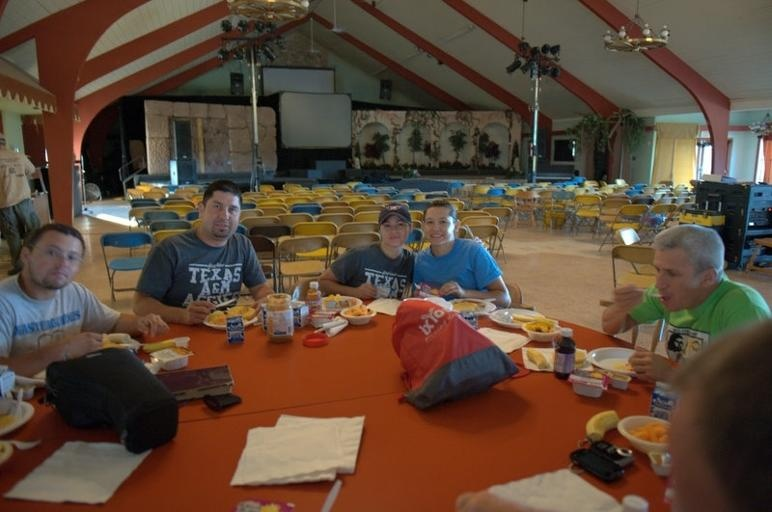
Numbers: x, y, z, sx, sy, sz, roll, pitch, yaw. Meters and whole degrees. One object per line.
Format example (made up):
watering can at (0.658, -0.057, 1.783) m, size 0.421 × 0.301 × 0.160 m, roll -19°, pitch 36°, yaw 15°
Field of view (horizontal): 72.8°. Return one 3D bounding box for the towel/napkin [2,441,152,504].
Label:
towel/napkin at (-0.953, 0.679, 1.628) m, size 0.306 × 0.072 × 0.262 m, roll 3°, pitch 9°, yaw 14°

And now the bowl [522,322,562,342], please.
bowl at (0.742, 0.359, 2.530) m, size 0.109 × 0.041 × 0.110 m, roll -2°, pitch 8°, yaw 0°

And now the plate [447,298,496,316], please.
plate at (0.470, 0.273, 2.813) m, size 0.141 × 0.024 × 0.141 m, roll 6°, pitch 15°, yaw 19°

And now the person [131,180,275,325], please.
person at (-1.049, -0.003, 3.191) m, size 0.819 × 0.898 × 0.579 m, roll 0°, pitch 26°, yaw -31°

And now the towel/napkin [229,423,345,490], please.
towel/napkin at (-0.319, 0.648, 1.708) m, size 0.330 × 0.073 × 0.246 m, roll 0°, pitch 9°, yaw -3°

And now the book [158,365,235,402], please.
book at (-0.739, 0.490, 2.027) m, size 0.170 × 0.041 × 0.169 m, roll -7°, pitch 16°, yaw -36°

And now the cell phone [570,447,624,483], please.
cell phone at (0.656, 0.651, 1.628) m, size 0.073 × 0.030 × 0.124 m, roll -17°, pitch 22°, yaw -32°

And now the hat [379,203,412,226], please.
hat at (0.053, -0.268, 3.315) m, size 0.185 × 0.130 × 0.221 m, roll 1°, pitch 9°, yaw 3°

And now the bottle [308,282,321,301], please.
bottle at (-0.399, 0.189, 2.846) m, size 0.069 × 0.086 × 0.125 m, roll -2°, pitch 9°, yaw -15°

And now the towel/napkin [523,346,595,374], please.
towel/napkin at (0.711, 0.455, 2.262) m, size 0.154 × 0.025 × 0.153 m, roll -3°, pitch 17°, yaw 7°

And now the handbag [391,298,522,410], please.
handbag at (0.208, 0.386, 2.054) m, size 0.343 × 0.180 × 0.441 m, roll -14°, pitch 14°, yaw -20°
